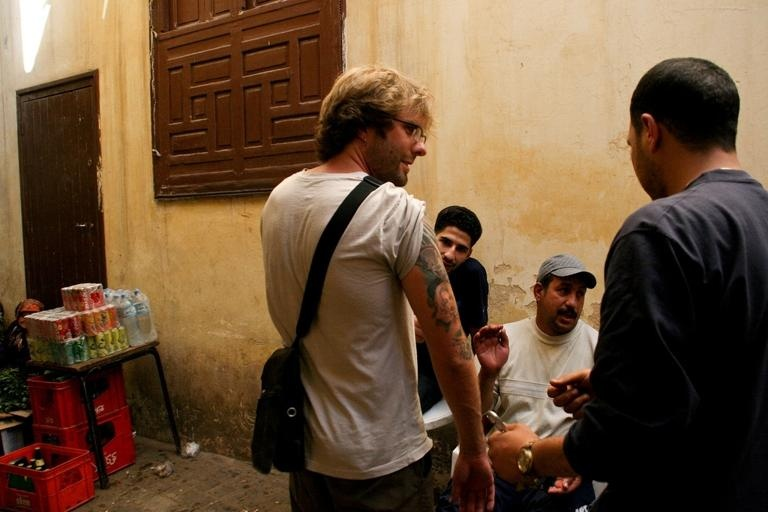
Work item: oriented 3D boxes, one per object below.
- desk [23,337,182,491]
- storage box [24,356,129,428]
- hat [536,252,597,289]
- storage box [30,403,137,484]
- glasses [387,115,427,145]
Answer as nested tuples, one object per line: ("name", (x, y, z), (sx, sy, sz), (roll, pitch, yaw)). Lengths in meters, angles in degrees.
("desk", (-2.327, 1.303, 5.988), (0.849, 0.758, 0.678), (-18, -9, -32))
("storage box", (-2.866, 1.291, 6.065), (0.524, 0.399, 0.702), (-6, 1, 21))
("hat", (1.243, 0.079, 4.321), (0.228, 0.164, 0.321), (13, -16, -28))
("storage box", (-2.676, 1.651, 5.980), (0.663, 0.417, 0.668), (-6, -2, 39))
("glasses", (0.136, -0.674, 3.462), (0.142, 0.043, 0.139), (30, 5, 19))
